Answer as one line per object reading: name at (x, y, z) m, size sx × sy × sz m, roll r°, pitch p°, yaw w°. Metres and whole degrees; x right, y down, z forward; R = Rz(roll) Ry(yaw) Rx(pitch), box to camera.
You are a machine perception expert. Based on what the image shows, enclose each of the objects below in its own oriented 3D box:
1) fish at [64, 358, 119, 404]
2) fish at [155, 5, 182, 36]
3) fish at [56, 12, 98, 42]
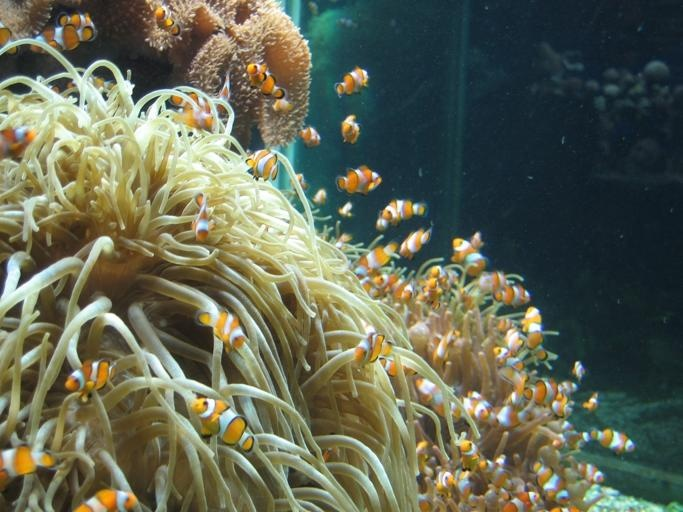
fish at (-1.058, 0.533, 3.303) m, size 0.056 × 0.182 × 0.116 m, roll 31°, pitch -31°, yaw 45°
fish at (-1.057, -1.415, 4.770) m, size 0.202 × 0.106 × 0.089 m, roll 59°, pitch 15°, yaw -15°
fish at (-1.471, -1.281, 4.353) m, size 0.182 × 0.157 × 0.169 m, roll -3°, pitch -2°, yaw 3°
